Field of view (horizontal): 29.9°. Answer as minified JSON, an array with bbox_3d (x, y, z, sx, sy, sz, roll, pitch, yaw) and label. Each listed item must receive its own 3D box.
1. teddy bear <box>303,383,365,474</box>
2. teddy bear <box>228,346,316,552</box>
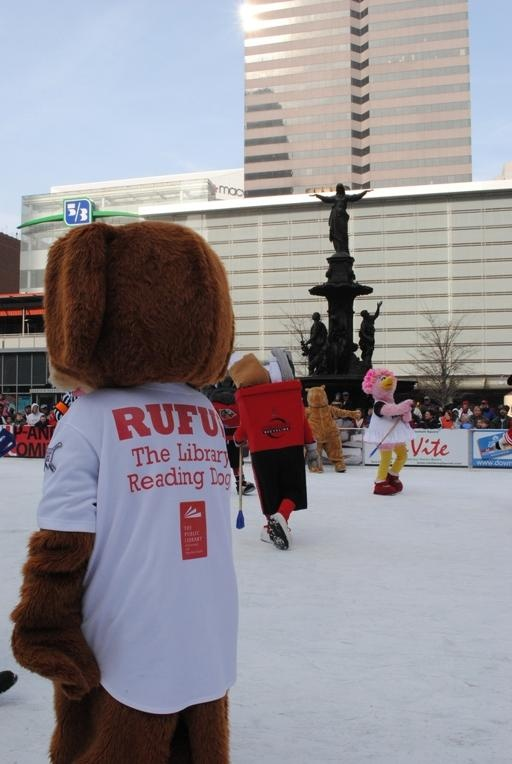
[{"bbox_3d":[1.138,0.683,14.016,1.431,1.229,0.419,-6,6,-23],"label":"teddy bear"},{"bbox_3d":[0.099,0.481,7.044,0.596,1.191,0.836,-3,1,7],"label":"teddy bear"}]
